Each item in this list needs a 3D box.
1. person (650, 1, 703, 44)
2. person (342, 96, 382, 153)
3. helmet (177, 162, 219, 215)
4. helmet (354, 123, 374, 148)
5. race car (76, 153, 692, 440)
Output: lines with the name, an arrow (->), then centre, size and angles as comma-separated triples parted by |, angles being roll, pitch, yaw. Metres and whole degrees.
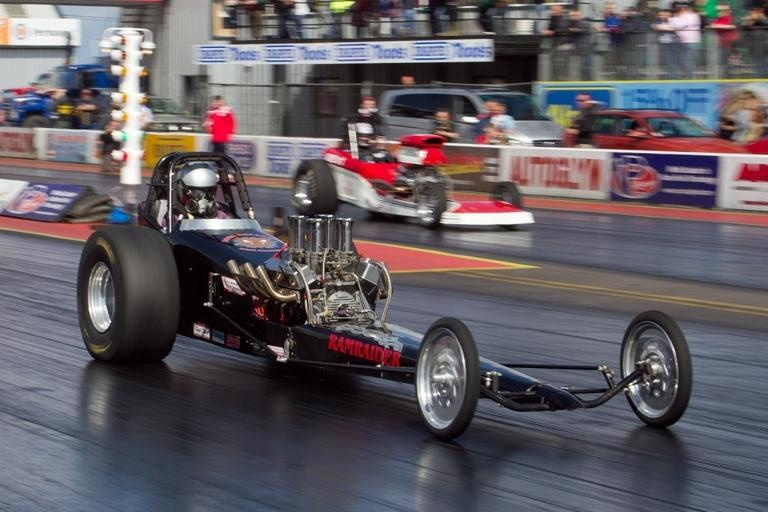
person -> 7.578, -5.888, 19.404 | 0.572, 1.042, 1.053 | -7, 15, -32
person -> -0.469, -2.960, 18.897 | 0.649, 1.752, 0.570 | 10, 11, 28
helmet -> -1.783, -0.655, 7.363 | 0.436, 0.492, 0.505 | -4, 18, -20
helmet -> -0.415, -2.385, 15.195 | 0.469, 0.454, 0.461 | 0, 7, -2
race car -> -0.345, 0.184, 6.276 | 4.890, 1.694, 2.456 | 10, 12, 43
